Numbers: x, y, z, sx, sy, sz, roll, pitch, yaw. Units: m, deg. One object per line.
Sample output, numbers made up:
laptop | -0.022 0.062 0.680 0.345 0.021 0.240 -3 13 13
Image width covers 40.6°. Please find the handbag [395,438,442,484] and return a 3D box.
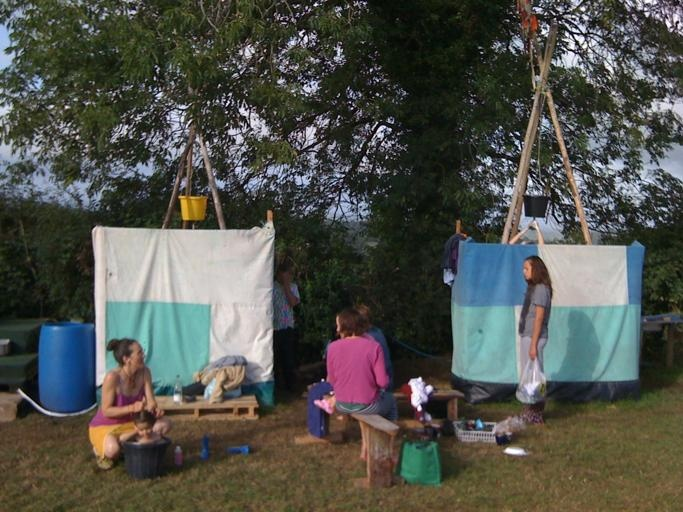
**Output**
handbag | 1.071 2.770 12.734 0.504 0.567 0.536 0 -3 -15

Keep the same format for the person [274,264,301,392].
person | -0.959 1.164 15.926 0.426 2.246 0.598 0 -1 -4

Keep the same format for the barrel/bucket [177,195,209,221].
barrel/bucket | -2.462 -0.805 15.265 0.393 0.353 0.424 -1 2 0

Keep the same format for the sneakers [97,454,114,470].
sneakers | -3.269 2.839 12.770 0.214 0.195 0.100 0 -1 -8

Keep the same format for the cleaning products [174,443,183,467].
cleaning products | -2.292 2.780 12.985 0.130 0.259 0.299 0 -2 -10

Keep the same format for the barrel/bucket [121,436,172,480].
barrel/bucket | -2.661 2.720 12.617 0.487 0.445 0.543 -1 -4 22

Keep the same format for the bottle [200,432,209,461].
bottle | -1.958 2.693 13.177 0.126 0.345 0.325 0 -2 -9
